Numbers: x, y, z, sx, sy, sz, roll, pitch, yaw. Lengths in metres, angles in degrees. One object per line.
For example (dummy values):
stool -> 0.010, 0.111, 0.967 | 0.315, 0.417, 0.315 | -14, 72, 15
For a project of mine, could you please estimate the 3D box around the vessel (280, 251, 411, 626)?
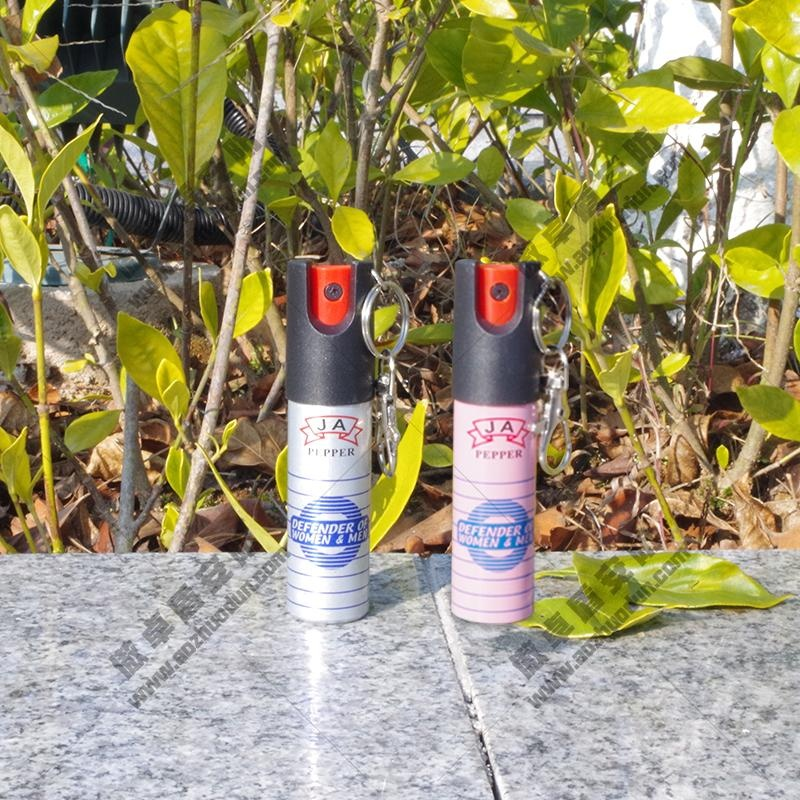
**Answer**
vessel -> -0.064, 0.051, 0.985 | 0.136, 0.414, 0.080 | -1, 11, -14
